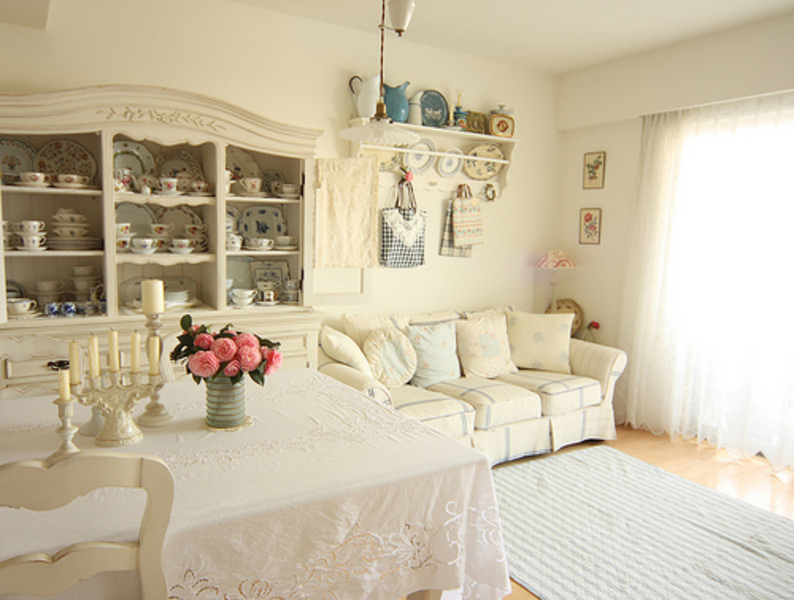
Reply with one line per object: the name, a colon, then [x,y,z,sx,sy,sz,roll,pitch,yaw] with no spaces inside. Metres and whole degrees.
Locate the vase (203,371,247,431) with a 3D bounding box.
vase: [-0.665,0.395,2.312,0.199,0.208,0.198,0,1,-4]

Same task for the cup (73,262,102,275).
cup: [-1.838,-0.183,3.525,0.095,0.044,0.092,1,2,0]

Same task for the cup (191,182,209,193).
cup: [-1.227,-0.703,3.711,0.088,0.062,0.090,-1,0,0]

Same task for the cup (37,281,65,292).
cup: [-2.024,-0.068,3.457,0.092,0.040,0.076,2,-3,-34]

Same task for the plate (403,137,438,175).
plate: [0.202,-1.111,4.577,0.140,0.270,0.317,13,17,41]

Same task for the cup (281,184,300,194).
cup: [-0.701,-0.723,3.894,0.083,0.048,0.074,6,7,22]

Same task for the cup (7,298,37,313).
cup: [-2.067,0.033,3.296,0.092,0.052,0.111,-1,-6,23]

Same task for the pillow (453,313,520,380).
pillow: [0.652,0.355,4.515,0.498,0.433,0.149,-3,-18,-30]

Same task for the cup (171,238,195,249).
cup: [-1.306,-0.350,3.648,0.086,0.055,0.068,2,0,-21]

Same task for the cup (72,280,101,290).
cup: [-1.823,-0.088,3.510,0.125,0.067,0.034,-2,13,-13]

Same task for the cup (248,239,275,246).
cup: [-0.885,-0.371,3.870,0.096,0.038,0.077,2,-1,-13]

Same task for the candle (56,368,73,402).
candle: [-1.130,0.287,2.035,0.039,0.111,0.077,2,13,2]

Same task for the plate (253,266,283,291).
plate: [-0.880,-0.145,4.090,0.177,0.168,0.045,3,-3,-24]

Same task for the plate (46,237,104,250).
plate: [-1.840,-0.328,3.406,0.281,0.077,0.086,-4,13,-24]

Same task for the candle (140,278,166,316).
candle: [-0.914,-0.012,2.226,0.071,0.130,0.143,-5,14,-24]

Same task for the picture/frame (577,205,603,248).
picture/frame: [1.664,-0.644,5.133,0.034,0.471,0.337,-6,11,-33]

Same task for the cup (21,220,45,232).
cup: [-2.004,-0.395,3.288,0.100,0.073,0.076,2,-1,-33]

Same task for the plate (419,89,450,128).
plate: [0.298,-1.491,4.600,0.304,0.276,0.087,-10,17,-40]

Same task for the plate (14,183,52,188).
plate: [-1.987,-0.631,3.269,0.161,0.032,0.080,-6,13,-30]

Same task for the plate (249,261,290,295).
plate: [-0.882,-0.145,4.065,0.257,0.244,0.059,1,-2,-24]

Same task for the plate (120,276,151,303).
plate: [-1.461,-0.059,3.298,0.022,0.161,0.162,12,31,44]

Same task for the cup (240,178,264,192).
cup: [-0.933,-0.738,3.852,0.098,0.076,0.116,-1,-2,13]

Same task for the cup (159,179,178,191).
cup: [-1.369,-0.688,3.562,0.100,0.072,0.077,-5,16,-27]

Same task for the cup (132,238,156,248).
cup: [-1.485,-0.333,3.519,0.094,0.041,0.076,3,-4,-36]

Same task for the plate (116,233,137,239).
plate: [-1.588,-0.379,3.501,0.046,0.034,0.119,5,12,16]

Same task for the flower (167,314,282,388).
flower: [-0.657,0.177,2.395,0.347,0.183,0.322,16,4,1]

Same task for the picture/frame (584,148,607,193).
picture/frame: [1.677,-1.111,5.084,0.050,0.320,0.229,-6,15,-28]

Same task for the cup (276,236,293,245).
cup: [-0.765,-0.396,3.982,0.085,0.052,0.071,1,2,-5]

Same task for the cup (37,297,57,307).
cup: [-2.016,0.006,3.438,0.078,0.058,0.079,1,-6,0]

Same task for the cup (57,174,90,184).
cup: [-1.824,-0.674,3.339,0.111,0.041,0.086,1,-1,-27]

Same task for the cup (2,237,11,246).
cup: [-2.143,-0.317,3.273,0.024,0.064,0.046,-3,13,-17]

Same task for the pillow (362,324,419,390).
pillow: [-0.041,0.403,4.137,0.385,0.395,0.126,8,-22,-35]

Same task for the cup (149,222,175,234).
cup: [-1.459,-0.436,3.683,0.112,0.075,0.088,2,3,18]

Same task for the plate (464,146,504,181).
plate: [0.713,-1.129,4.909,0.323,0.314,0.064,21,13,-25]

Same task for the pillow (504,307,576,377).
pillow: [1.094,0.348,4.635,0.527,0.463,0.186,2,-10,9]

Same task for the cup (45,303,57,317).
cup: [-1.940,0.052,3.347,0.068,0.066,0.094,-6,14,-30]

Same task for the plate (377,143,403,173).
plate: [-0.042,-1.071,4.430,0.176,0.169,0.041,-11,12,-28]
